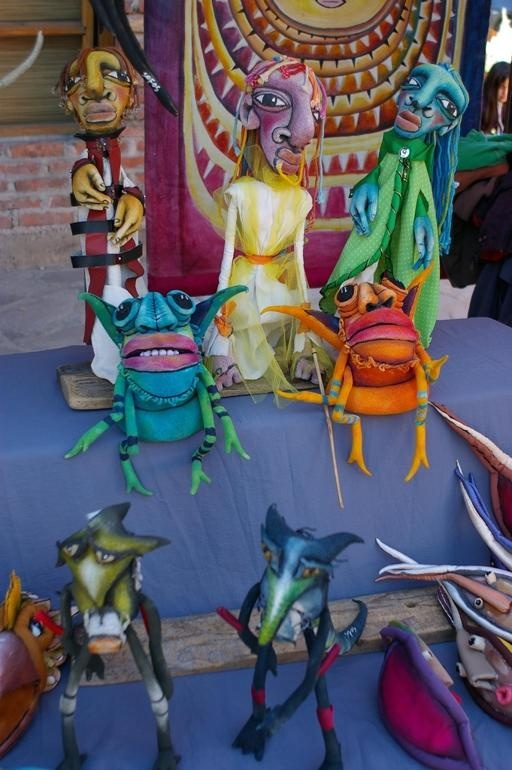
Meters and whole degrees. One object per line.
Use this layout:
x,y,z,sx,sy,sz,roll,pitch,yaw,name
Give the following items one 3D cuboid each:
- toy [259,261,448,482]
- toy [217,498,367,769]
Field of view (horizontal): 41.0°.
0.251,-0.018,1.869,0.576,0.604,0.342,-4,19,-6,toy
0.063,0.475,1.398,0.292,0.604,0.378,4,24,8,toy
